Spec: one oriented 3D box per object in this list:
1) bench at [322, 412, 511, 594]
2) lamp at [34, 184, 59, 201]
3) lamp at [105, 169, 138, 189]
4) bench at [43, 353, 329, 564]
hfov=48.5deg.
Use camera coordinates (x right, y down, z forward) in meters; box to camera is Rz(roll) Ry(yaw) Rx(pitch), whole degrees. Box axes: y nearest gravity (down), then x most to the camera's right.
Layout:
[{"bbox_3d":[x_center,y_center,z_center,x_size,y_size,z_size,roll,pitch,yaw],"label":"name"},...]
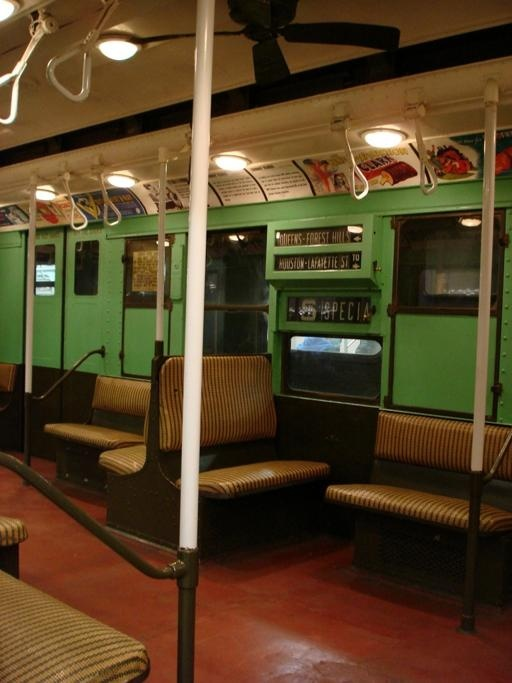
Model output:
[{"bbox_3d":[1.112,1.025,3.703,0.763,1.039,1.227,4,-3,-37],"label":"bench"},{"bbox_3d":[-2.307,-1.620,6.237,0.216,0.057,0.603,2,-2,-20],"label":"lamp"},{"bbox_3d":[-1.282,-1.535,5.353,0.235,0.075,0.524,1,-2,3],"label":"lamp"},{"bbox_3d":[-0.544,0.808,4.766,1.879,1.355,1.404,4,1,41],"label":"bench"}]
